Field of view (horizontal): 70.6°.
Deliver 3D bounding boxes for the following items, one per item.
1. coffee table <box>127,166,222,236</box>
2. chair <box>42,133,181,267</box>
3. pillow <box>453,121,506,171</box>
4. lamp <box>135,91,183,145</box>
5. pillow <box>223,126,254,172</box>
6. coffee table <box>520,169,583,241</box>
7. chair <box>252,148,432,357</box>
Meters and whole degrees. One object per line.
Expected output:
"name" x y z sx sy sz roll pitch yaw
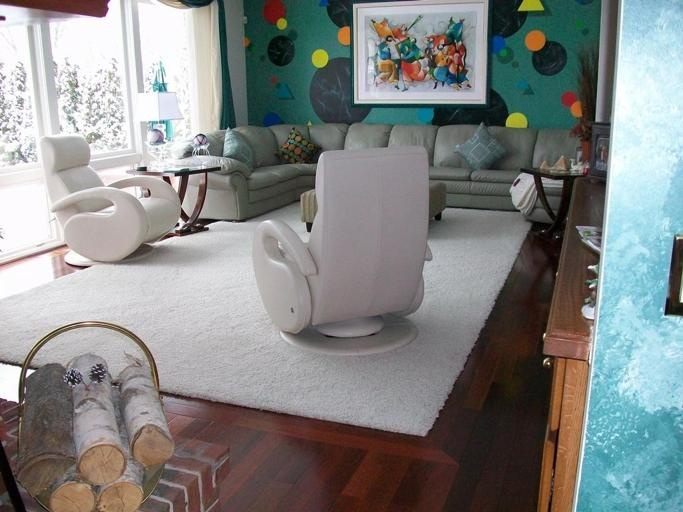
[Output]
"coffee table" -1.907 -0.725 5.502 0.791 0.834 0.824 8 17 25
"chair" -2.150 -0.661 4.793 1.176 1.381 0.996 6 17 15
"pillow" 1.846 -1.574 6.733 0.816 0.174 0.841 -24 -5 -23
"lamp" -1.974 -1.505 5.178 0.378 0.632 0.392 21 30 40
"pillow" -1.390 -1.425 6.425 0.366 0.489 0.422 -7 19 -13
"coffee table" 2.286 -0.576 5.119 0.596 0.590 0.634 2 13 40
"chair" 0.022 -0.098 2.952 0.916 1.170 0.853 -7 16 -26
